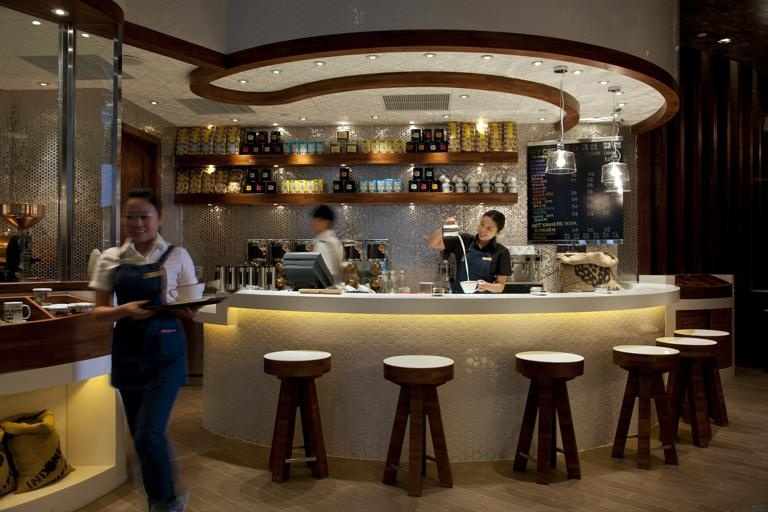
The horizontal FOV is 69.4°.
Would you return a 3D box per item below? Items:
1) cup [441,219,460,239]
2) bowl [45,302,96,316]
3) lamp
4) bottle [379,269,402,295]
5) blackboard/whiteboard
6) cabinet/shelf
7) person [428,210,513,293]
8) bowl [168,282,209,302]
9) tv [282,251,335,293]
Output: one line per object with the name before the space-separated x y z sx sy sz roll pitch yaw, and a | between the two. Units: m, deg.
cup | 0.676 -0.273 5.619 0.257 0.207 0.172 0 -3 12
bowl | -2.528 0.426 4.410 0.354 0.080 0.198 -2 6 -22
lamp | 2.600 -1.593 7.136 1.460 1.504 0.509 0 2 -10
bottle | 0.049 0.269 5.782 0.311 0.274 0.284 2 -1 7
blackboard/whiteboard | 2.721 -0.924 7.766 1.903 1.627 0.127 -1 -1 5
cabinet/shelf | -0.676 -1.119 8.245 5.275 0.726 0.747 1 4 13
person | 0.909 -0.012 6.203 0.769 0.997 2.134 0 6 -2
bowl | -1.378 0.261 3.907 0.175 0.098 0.160 0 -6 0
tv | -0.734 0.137 5.287 0.344 0.196 0.427 3 -28 11
